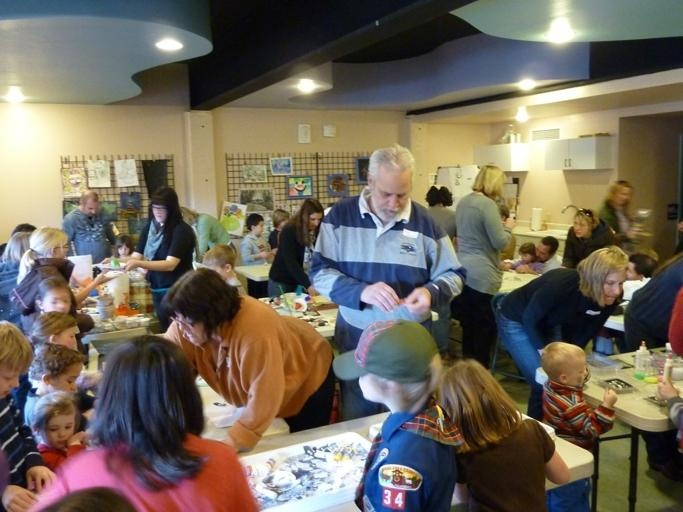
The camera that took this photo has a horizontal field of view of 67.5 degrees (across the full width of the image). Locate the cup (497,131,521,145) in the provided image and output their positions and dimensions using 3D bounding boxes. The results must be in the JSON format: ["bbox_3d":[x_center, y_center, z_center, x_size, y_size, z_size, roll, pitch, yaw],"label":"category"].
[{"bbox_3d":[3.074,-2.115,9.264,0.311,0.290,0.298,0,12,0],"label":"cup"}]

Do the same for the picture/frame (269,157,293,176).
[{"bbox_3d":[-1.006,-1.480,8.352,0.347,0.243,0.046,-1,-3,-31],"label":"picture/frame"}]

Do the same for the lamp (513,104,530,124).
[{"bbox_3d":[2.743,-2.135,7.761,0.166,0.185,1.305,0,10,19],"label":"lamp"}]

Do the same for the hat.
[{"bbox_3d":[0.156,0.305,1.736,0.373,0.174,0.259,2,9,9],"label":"hat"}]

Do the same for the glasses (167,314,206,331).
[{"bbox_3d":[-0.598,0.253,1.971,0.085,0.026,0.088,13,-20,48],"label":"glasses"}]

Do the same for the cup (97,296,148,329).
[{"bbox_3d":[-1.969,0.506,4.571,0.345,0.161,0.455,-1,3,-24],"label":"cup"}]
